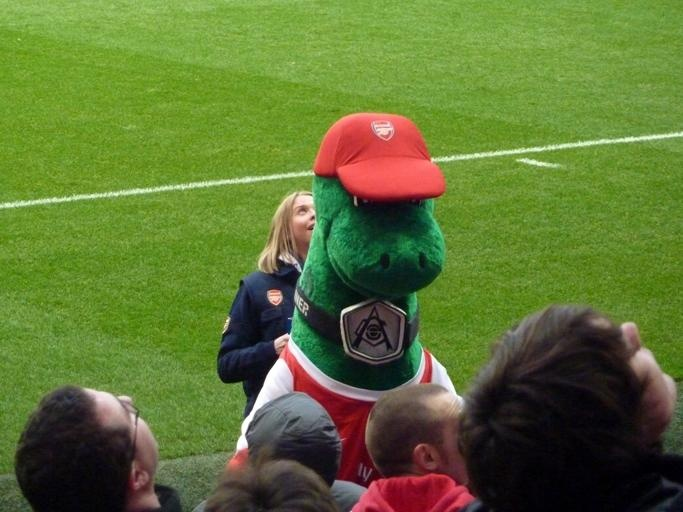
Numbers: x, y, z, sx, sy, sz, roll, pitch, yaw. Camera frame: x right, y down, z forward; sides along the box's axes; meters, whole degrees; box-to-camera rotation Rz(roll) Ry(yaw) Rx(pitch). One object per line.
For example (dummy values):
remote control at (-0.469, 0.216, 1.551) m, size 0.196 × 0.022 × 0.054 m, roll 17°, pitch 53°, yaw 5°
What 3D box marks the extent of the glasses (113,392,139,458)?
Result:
glasses at (-0.941, 0.759, 3.998) m, size 0.067 × 0.214 × 0.207 m, roll 0°, pitch 5°, yaw -26°
